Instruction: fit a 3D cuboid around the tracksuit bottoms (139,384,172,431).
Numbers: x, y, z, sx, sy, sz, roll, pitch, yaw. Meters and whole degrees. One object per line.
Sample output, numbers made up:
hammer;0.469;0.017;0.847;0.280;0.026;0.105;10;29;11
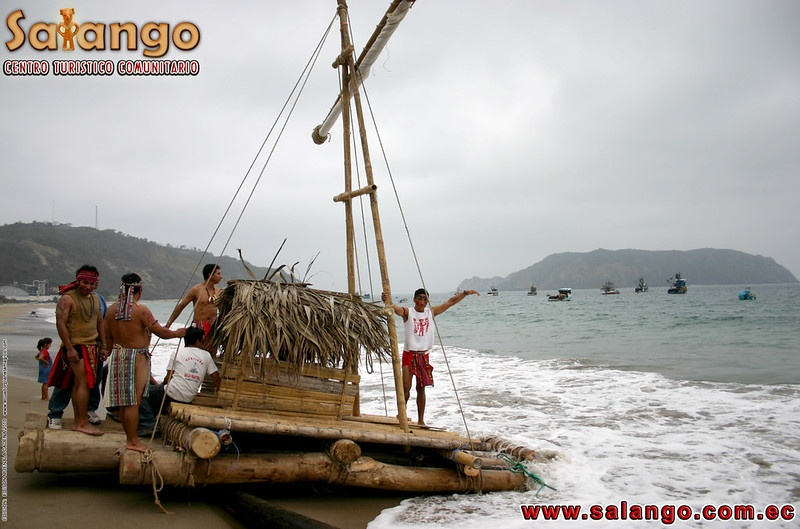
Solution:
tracksuit bottoms;-3.986;2.332;8.686;0.320;0.748;0.574;5;2;-19

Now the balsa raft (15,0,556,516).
balsa raft;-1.982;0.568;12.721;8.952;8.464;8.231;2;-10;-16

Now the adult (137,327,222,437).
adult;-3.691;1.902;8.918;1.080;1.881;0.964;15;-6;17

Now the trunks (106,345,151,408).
trunks;-4.166;1.710;8.280;0.514;0.899;0.651;-1;-12;-15

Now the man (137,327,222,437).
man;-3.681;1.921;8.920;1.104;1.852;0.980;15;-5;18

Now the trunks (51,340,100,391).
trunks;-5.171;1.520;8.575;0.463;0.755;0.588;18;10;17

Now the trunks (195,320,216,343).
trunks;-3.374;1.131;9.433;0.374;0.469;0.216;0;-2;-4

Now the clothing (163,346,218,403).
clothing;-3.289;1.788;8.579;0.827;0.885;0.523;7;-13;-12

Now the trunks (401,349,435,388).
trunks;0.377;1.928;9.912;0.651;0.635;0.297;1;-10;-12
